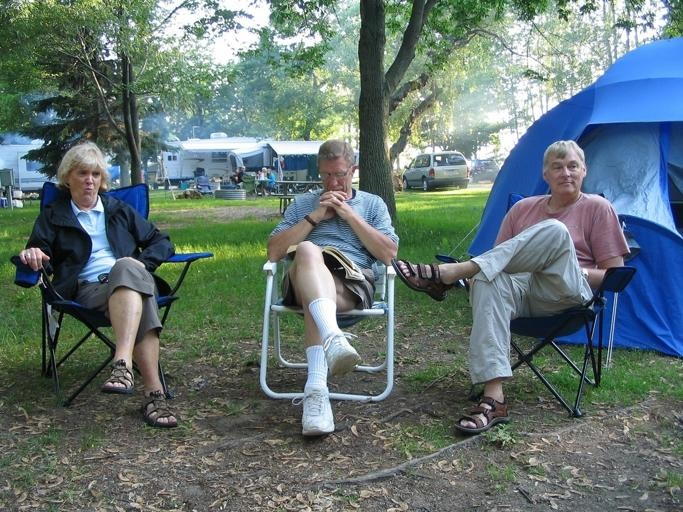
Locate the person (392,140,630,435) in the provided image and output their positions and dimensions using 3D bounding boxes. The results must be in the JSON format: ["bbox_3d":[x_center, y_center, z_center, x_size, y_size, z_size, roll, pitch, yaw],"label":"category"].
[{"bbox_3d":[1.090,0.117,3.949,0.901,1.576,1.435,12,18,41],"label":"person"}]

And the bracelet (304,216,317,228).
[{"bbox_3d":[-0.206,-0.224,4.222,0.027,0.075,0.072,-45,11,-10],"label":"bracelet"}]

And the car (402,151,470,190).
[{"bbox_3d":[3.406,-3.126,23.692,1.359,1.018,2.224,-4,13,-17],"label":"car"}]

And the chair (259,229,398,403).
[{"bbox_3d":[-0.064,0.422,4.399,0.936,0.893,1.478,-1,13,-5],"label":"chair"}]

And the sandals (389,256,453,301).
[{"bbox_3d":[0.487,0.144,3.906,0.337,0.149,0.187,29,14,-21],"label":"sandals"}]

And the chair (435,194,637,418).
[{"bbox_3d":[1.192,0.355,3.976,0.831,0.990,0.722,4,15,18],"label":"chair"}]

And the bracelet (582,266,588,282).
[{"bbox_3d":[1.507,0.115,3.953,0.024,0.064,0.046,-6,1,35],"label":"bracelet"}]

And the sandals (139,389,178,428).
[{"bbox_3d":[-1.055,0.906,3.684,0.114,0.143,0.307,2,-4,-28],"label":"sandals"}]

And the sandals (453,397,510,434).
[{"bbox_3d":[0.823,0.901,3.664,0.371,0.163,0.153,-2,6,-36],"label":"sandals"}]

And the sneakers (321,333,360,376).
[{"bbox_3d":[-0.002,0.556,3.534,0.179,0.228,0.168,-2,14,-9],"label":"sneakers"}]

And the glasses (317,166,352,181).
[{"bbox_3d":[-0.033,-0.537,4.189,0.110,0.057,0.152,0,-11,4],"label":"glasses"}]

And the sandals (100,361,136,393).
[{"bbox_3d":[-1.262,0.715,3.599,0.156,0.263,0.228,-4,14,-16],"label":"sandals"}]

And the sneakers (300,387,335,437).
[{"bbox_3d":[-0.135,0.856,3.636,0.187,0.208,0.458,-3,13,2],"label":"sneakers"}]

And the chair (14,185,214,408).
[{"bbox_3d":[-1.593,0.236,4.284,1.220,1.357,0.913,0,6,-33],"label":"chair"}]
